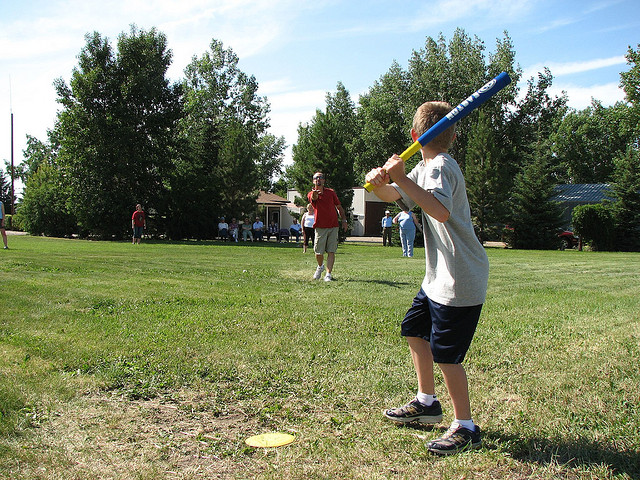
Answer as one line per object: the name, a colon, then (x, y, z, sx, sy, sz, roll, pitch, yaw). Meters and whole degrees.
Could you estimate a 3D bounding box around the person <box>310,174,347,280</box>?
person: (0.116, -0.285, 10.886, 0.627, 2.108, 0.913, 0, 7, 1)

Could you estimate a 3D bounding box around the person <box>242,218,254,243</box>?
person: (-4.469, -0.587, 33.267, 0.681, 1.203, 2.724, -1, 9, -7)

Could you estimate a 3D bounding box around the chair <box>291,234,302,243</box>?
chair: (-1.461, -0.090, 33.189, 0.437, 0.935, 0.427, -3, 3, -33)

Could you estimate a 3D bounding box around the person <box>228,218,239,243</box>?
person: (-5.418, -0.743, 33.544, 0.492, 1.494, 3.185, -1, 9, -9)

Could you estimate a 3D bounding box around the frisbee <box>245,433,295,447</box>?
frisbee: (-0.367, 1.451, 3.875, 0.352, 0.016, 0.191, 0, 9, -3)

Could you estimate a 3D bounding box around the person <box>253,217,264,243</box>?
person: (-3.910, -0.625, 33.671, 0.595, 1.321, 1.264, -1, 8, -8)

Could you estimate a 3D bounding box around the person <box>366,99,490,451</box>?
person: (0.843, 0.199, 4.026, 0.811, 2.489, 0.831, 3, 8, 18)

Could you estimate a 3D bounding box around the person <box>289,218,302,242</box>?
person: (-1.561, -0.680, 33.237, 0.624, 1.369, 2.018, 0, 8, -5)

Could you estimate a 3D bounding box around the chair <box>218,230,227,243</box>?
chair: (-5.985, -0.246, 33.005, 0.568, 1.239, 0.603, 2, -5, -21)

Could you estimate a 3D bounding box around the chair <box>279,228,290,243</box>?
chair: (-2.195, -0.331, 33.060, 0.569, 0.884, 0.678, 1, -5, -9)

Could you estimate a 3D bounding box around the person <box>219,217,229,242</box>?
person: (-5.996, -0.654, 33.433, 0.571, 1.442, 1.629, -1, 8, -11)
